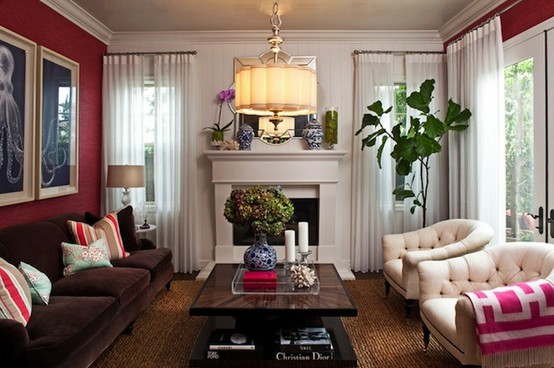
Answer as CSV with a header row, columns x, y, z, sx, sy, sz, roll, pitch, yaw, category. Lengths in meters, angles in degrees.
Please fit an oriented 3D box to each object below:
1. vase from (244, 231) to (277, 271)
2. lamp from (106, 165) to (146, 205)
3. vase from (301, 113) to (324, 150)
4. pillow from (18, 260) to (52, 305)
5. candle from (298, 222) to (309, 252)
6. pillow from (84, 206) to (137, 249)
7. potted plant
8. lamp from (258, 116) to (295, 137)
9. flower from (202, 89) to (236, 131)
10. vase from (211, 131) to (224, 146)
x,y,z,sx,sy,sz,roll,pitch,yaw,category
-0.154,0.700,4.120,0.353,0.393,0.356,1,-2,-3,vase
-2.001,0.023,5.402,0.524,0.637,0.542,0,-1,29,lamp
0.532,-0.755,5.676,0.406,0.618,0.414,1,0,13,vase
-2.276,0.959,3.735,0.110,0.370,0.377,-21,1,-11,pillow
0.281,0.550,4.025,0.104,0.312,0.058,-1,3,-12,candle
-2.097,0.650,5.029,0.220,0.543,0.529,-30,-17,26,pillow
-0.135,0.394,4.197,0.892,1.023,0.789,1,1,12,potted plant
-0.007,-0.870,5.759,0.468,0.210,0.480,1,3,0,lamp
-0.776,-1.134,5.968,0.551,0.668,0.592,2,4,-4,flower
-0.863,-0.676,5.722,0.191,0.227,0.196,2,0,12,vase
